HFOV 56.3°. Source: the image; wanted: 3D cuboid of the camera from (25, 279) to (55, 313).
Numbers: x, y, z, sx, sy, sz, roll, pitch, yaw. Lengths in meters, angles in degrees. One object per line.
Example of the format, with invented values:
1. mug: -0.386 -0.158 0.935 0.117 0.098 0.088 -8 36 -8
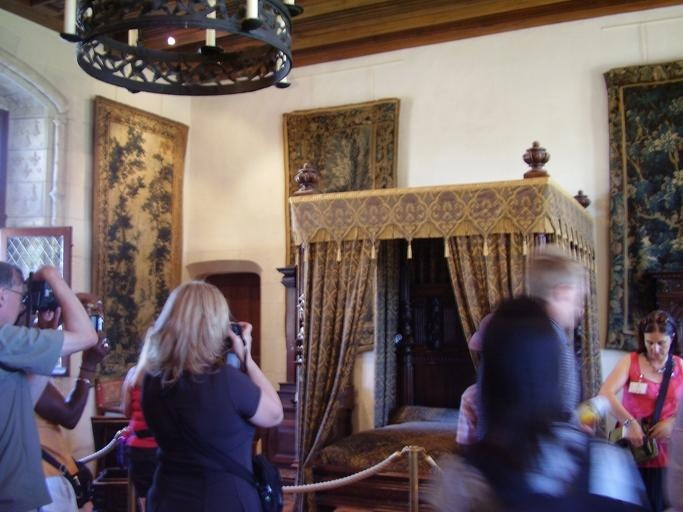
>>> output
1. camera: -1.714 0.238 3.662 0.166 0.178 0.165 4 -16 -39

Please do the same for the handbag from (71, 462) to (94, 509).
1. handbag: -1.695 1.508 4.201 0.187 0.270 0.108 6 -9 -17

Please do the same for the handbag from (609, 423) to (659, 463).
1. handbag: 2.254 1.418 4.913 0.300 0.314 0.102 -30 -47 13

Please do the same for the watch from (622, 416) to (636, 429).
1. watch: 2.227 1.292 4.939 0.026 0.072 0.068 43 -14 -13

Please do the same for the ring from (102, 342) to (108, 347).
1. ring: -1.506 0.564 4.101 0.022 0.031 0.058 3 0 -6
